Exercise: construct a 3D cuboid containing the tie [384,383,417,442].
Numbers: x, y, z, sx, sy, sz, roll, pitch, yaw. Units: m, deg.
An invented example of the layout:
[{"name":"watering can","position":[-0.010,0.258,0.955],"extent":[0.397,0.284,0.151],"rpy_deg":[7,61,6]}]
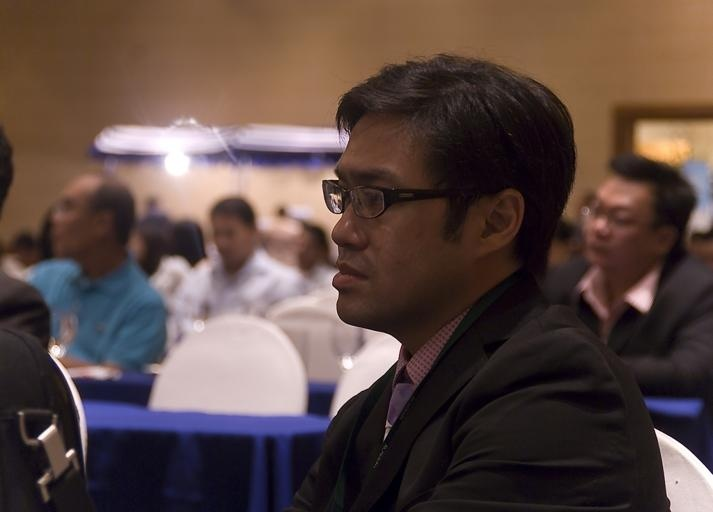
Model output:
[{"name":"tie","position":[0.077,0.296,1.375],"extent":[0.035,0.104,0.057],"rpy_deg":[15,26,-3]}]
